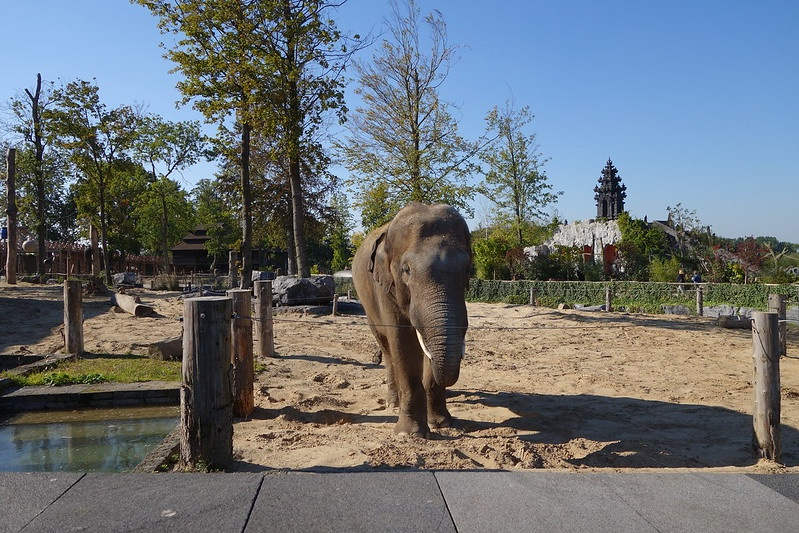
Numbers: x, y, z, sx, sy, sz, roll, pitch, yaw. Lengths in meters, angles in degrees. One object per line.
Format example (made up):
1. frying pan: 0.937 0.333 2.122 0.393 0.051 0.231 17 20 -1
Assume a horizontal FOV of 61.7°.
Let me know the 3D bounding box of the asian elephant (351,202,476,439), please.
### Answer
1. asian elephant: 0.278 0.967 12.914 1.992 4.041 5.229 -3 -1 -9
